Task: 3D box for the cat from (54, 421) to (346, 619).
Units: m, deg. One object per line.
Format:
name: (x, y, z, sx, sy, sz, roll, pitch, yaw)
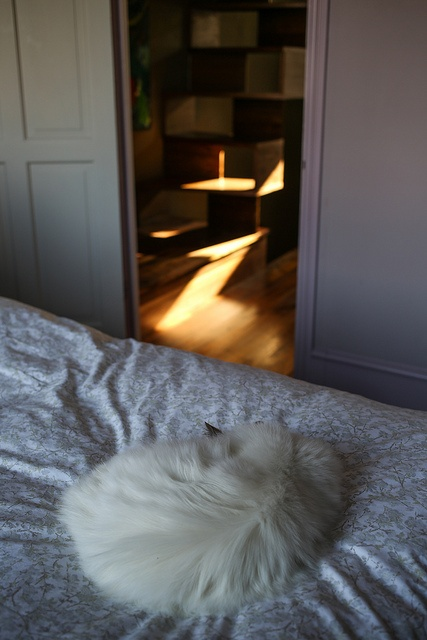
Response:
cat: (0.003, 0.221, 0.534, 0.208, 0.052, 0.200, -16, 27, -24)
